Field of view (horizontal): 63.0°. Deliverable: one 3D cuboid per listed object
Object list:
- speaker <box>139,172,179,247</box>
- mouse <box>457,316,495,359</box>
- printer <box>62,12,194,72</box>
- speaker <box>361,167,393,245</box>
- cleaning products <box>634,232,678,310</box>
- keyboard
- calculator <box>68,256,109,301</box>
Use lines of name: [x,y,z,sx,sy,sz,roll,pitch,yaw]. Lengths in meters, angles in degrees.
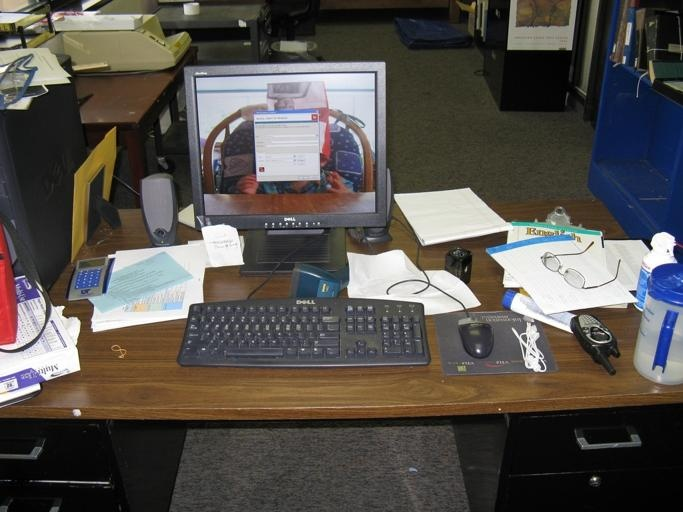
speaker: [-0.579,-0.145,1.789,0.117,0.227,0.143,-4,18,-12]
mouse: [0.345,0.203,1.427,0.084,0.032,0.137,-2,38,4]
printer: [-1.341,-1.326,3.460,0.754,0.306,0.414,-11,32,-12]
speaker: [0.116,-0.170,1.775,0.115,0.239,0.112,0,19,8]
cleaning products: [0.795,0.045,1.407,0.092,0.228,0.091,3,41,24]
keyboard: [-0.093,0.200,1.443,0.629,0.068,0.235,0,39,0]
calculator: [-0.722,0.063,1.598,0.123,0.104,0.125,3,31,-2]
